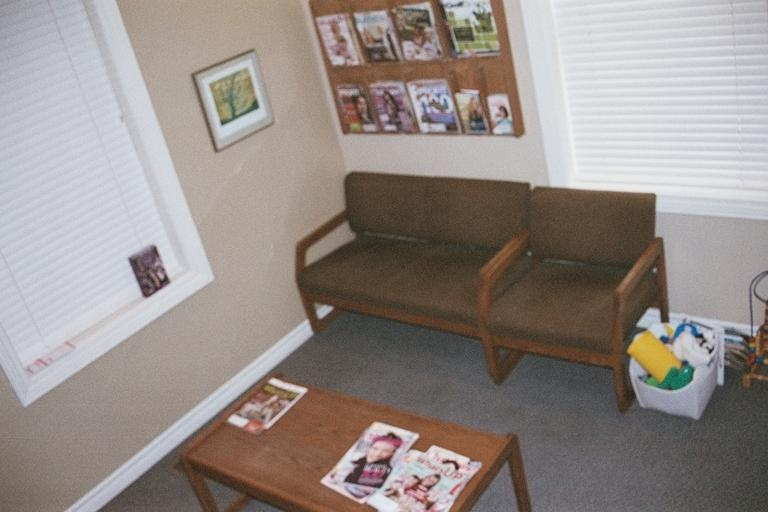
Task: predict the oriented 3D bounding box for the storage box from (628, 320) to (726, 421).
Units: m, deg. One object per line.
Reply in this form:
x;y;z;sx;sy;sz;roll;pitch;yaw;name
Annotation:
1.900;0.774;3.793;0.504;0.506;0.660;15;50;38;storage box

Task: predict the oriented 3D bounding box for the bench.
0.262;0.074;4.617;1.827;1.202;1.108;11;32;35;bench

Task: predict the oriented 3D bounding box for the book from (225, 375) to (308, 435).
-0.790;0.934;3.688;0.413;0.430;0.108;-42;48;3;book

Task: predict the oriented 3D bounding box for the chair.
1.340;0.264;3.962;1.139;1.230;0.899;6;32;28;chair

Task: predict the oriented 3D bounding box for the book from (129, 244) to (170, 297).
-1.675;0.106;4.068;0.228;0.334;0.163;-24;31;-24;book

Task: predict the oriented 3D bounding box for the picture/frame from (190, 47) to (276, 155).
-1.165;-1.180;4.283;0.713;0.708;0.052;-28;29;-29;picture/frame
